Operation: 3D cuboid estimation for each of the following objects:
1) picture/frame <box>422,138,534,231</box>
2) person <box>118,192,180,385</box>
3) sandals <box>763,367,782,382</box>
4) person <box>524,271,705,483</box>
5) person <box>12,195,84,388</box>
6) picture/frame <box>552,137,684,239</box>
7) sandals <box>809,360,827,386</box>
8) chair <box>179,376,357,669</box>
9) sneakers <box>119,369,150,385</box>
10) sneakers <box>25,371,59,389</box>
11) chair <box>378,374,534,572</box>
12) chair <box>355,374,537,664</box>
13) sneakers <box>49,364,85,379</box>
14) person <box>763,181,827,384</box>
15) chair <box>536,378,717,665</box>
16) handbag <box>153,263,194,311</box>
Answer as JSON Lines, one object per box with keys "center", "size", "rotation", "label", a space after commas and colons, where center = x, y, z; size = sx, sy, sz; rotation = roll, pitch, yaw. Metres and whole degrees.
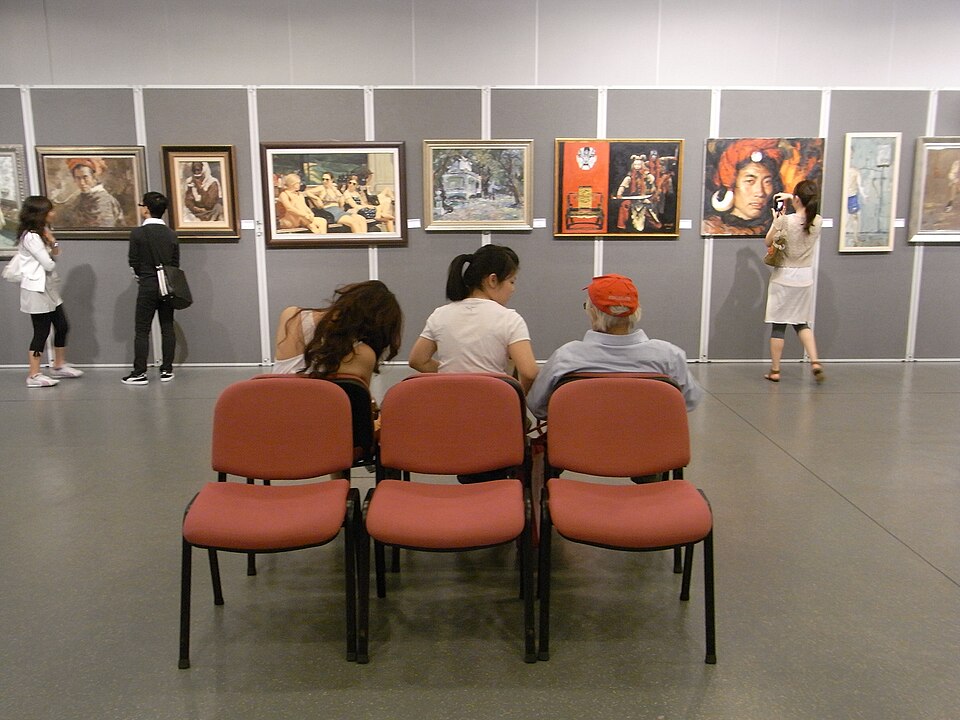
{"center": [-0.057, -2.006, 8.258], "size": [0.966, 0.812, 0.044], "rotation": [0, 12, -1], "label": "picture/frame"}
{"center": [-3.512, -0.762, 7.859], "size": [0.459, 1.968, 0.674], "rotation": [2, 14, 19], "label": "person"}
{"center": [3.140, 0.168, 7.899], "size": [0.092, 0.111, 0.259], "rotation": [1, 10, 7], "label": "sandals"}
{"center": [0.750, -0.015, 4.149], "size": [0.947, 0.958, 0.532], "rotation": [-4, 24, -3], "label": "person"}
{"center": [-4.662, -0.729, 7.817], "size": [0.547, 1.957, 0.854], "rotation": [-10, 15, -29], "label": "person"}
{"center": [1.523, -1.984, 8.291], "size": [1.017, 0.792, 0.041], "rotation": [0, 10, 1], "label": "picture/frame"}
{"center": [3.590, 0.153, 7.840], "size": [0.140, 0.198, 0.439], "rotation": [-4, -13, 8], "label": "sandals"}
{"center": [-1.014, 0.744, 3.590], "size": [0.872, 1.235, 0.776], "rotation": [-1, 7, -18], "label": "chair"}
{"center": [-3.655, 0.189, 7.876], "size": [0.313, 0.152, 0.131], "rotation": [4, 5, 3], "label": "sneakers"}
{"center": [-4.574, 0.220, 7.726], "size": [0.307, 0.152, 0.142], "rotation": [1, 9, -8], "label": "sneakers"}
{"center": [-0.147, 0.703, 3.617], "size": [0.783, 1.131, 0.671], "rotation": [-1, 15, 3], "label": "chair"}
{"center": [-0.157, 0.725, 3.619], "size": [0.819, 1.253, 0.816], "rotation": [-1, 7, -1], "label": "chair"}
{"center": [-4.597, 0.134, 8.168], "size": [0.406, 0.202, 0.168], "rotation": [0, 13, -10], "label": "sneakers"}
{"center": [3.321, -0.847, 7.855], "size": [0.556, 2.048, 0.692], "rotation": [1, 14, 15], "label": "person"}
{"center": [0.737, 0.757, 3.659], "size": [0.908, 1.295, 0.657], "rotation": [-1, 13, 4], "label": "chair"}
{"center": [-3.287, -0.781, 7.901], "size": [0.195, 0.508, 0.510], "rotation": [-7, 0, 18], "label": "handbag"}
